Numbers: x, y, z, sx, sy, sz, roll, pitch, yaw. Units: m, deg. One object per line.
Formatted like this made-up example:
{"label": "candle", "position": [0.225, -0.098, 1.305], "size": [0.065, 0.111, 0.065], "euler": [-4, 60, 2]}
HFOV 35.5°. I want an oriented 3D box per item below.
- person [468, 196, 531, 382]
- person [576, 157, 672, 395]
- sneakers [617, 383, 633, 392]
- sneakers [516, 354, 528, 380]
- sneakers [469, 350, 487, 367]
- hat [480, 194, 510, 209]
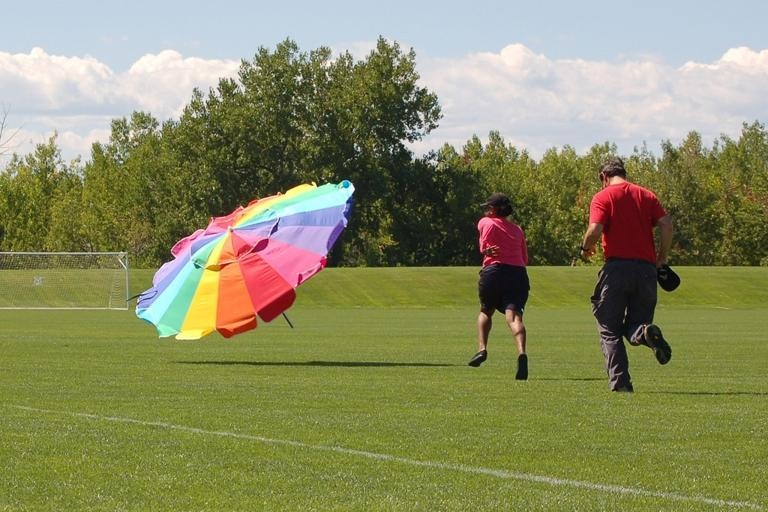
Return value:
{"label": "person", "position": [1.819, 0.408, 18.018], "size": [0.716, 2.032, 1.286], "euler": [2, -1, -31]}
{"label": "person", "position": [3.329, 0.226, 16.417], "size": [1.202, 2.186, 0.945], "euler": [1, -1, 10]}
{"label": "sneakers", "position": [3.278, 1.777, 16.337], "size": [0.151, 0.080, 0.120], "euler": [2, 3, 35]}
{"label": "sneakers", "position": [1.993, 1.584, 17.287], "size": [0.155, 0.399, 0.172], "euler": [-1, 2, 2]}
{"label": "sneakers", "position": [1.413, 1.540, 18.195], "size": [0.157, 0.154, 0.383], "euler": [9, -45, -35]}
{"label": "hat", "position": [1.711, -0.846, 18.280], "size": [0.329, 0.191, 0.243], "euler": [0, -2, 7]}
